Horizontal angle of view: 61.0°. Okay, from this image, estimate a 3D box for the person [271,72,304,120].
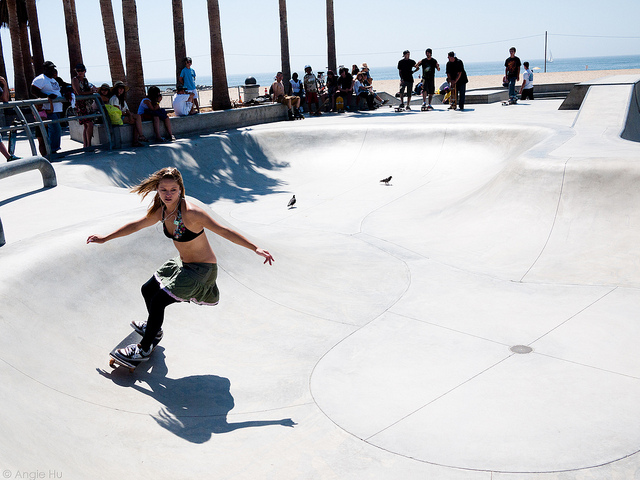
[{"bbox_3d":[-1.046,-4.970,18.737,1.102,1.486,0.926,6,22,19],"label":"person"}]

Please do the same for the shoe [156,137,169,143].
[{"bbox_3d":[-3.837,-2.454,13.330,0.263,0.096,0.353,7,22,26],"label":"shoe"}]

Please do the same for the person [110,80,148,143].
[{"bbox_3d":[-4.405,-2.907,12.519,0.633,1.436,1.009,-9,22,-15],"label":"person"}]

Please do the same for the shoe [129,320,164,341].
[{"bbox_3d":[-1.700,0.894,5.342,0.358,0.144,0.116,27,12,-7],"label":"shoe"}]

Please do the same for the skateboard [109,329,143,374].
[{"bbox_3d":[-2.001,1.220,5.547,0.297,0.133,0.866,22,-14,-15],"label":"skateboard"}]

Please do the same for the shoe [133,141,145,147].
[{"bbox_3d":[-4.198,-2.222,12.621,0.255,0.111,0.256,-9,21,-17],"label":"shoe"}]

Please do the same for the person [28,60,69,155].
[{"bbox_3d":[-5.633,-2.811,11.540,0.723,1.856,0.783,1,14,-7],"label":"person"}]

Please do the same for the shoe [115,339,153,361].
[{"bbox_3d":[-1.755,1.069,5.253,0.393,0.155,0.141,10,18,-42],"label":"shoe"}]

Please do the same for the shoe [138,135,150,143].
[{"bbox_3d":[-4.152,-2.385,12.855,0.127,0.230,0.377,-1,20,5],"label":"shoe"}]

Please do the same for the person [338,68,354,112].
[{"bbox_3d":[0.928,-5.428,19.661,0.551,1.532,0.777,0,22,9],"label":"person"}]

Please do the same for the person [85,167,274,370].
[{"bbox_3d":[-1.392,0.252,5.220,1.334,1.864,0.568,-7,22,-10],"label":"person"}]

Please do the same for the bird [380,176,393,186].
[{"bbox_3d":[1.507,-1.379,12.374,0.338,0.204,0.109,7,12,33],"label":"bird"}]

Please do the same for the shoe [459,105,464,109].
[{"bbox_3d":[4.688,-4.415,18.041,0.144,0.156,0.544,2,20,14],"label":"shoe"}]

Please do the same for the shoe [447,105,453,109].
[{"bbox_3d":[4.302,-4.375,17.971,0.074,0.098,0.197,-7,20,-9],"label":"shoe"}]

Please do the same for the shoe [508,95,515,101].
[{"bbox_3d":[6.680,-4.959,18.954,0.167,0.205,0.287,4,22,19],"label":"shoe"}]

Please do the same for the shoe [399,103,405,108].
[{"bbox_3d":[2.764,-4.518,18.250,0.192,0.141,0.296,1,4,-2],"label":"shoe"}]

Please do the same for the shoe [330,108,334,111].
[{"bbox_3d":[0.436,-4.773,19.898,0.154,0.146,0.040,-4,44,7],"label":"shoe"}]
